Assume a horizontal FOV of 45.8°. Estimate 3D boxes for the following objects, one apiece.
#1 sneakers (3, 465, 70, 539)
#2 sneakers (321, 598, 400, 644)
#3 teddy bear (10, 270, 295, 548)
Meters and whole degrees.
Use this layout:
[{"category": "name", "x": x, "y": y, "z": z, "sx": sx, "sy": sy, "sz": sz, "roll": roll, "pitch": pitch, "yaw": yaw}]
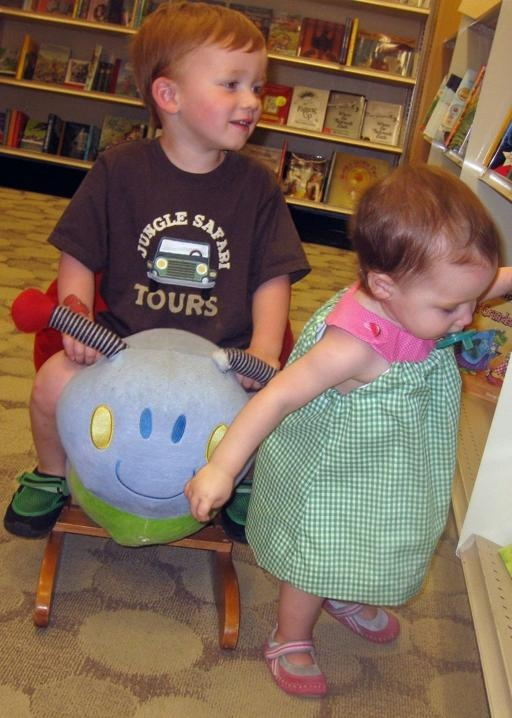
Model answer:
[{"category": "sneakers", "x": -0.384, "y": 0.231, "z": 1.097, "sx": 0.087, "sy": 0.064, "sz": 0.165, "roll": 18, "pitch": 32, "yaw": -8}, {"category": "sneakers", "x": 0.181, "y": 0.459, "z": 1.056, "sx": 0.118, "sy": 0.039, "sz": 0.054, "roll": 18, "pitch": 42, "yaw": 20}, {"category": "teddy bear", "x": -0.146, "y": 0.071, "z": 0.895, "sx": 0.489, "sy": 0.349, "sz": 0.240, "roll": 7, "pitch": 26, "yaw": -4}]
